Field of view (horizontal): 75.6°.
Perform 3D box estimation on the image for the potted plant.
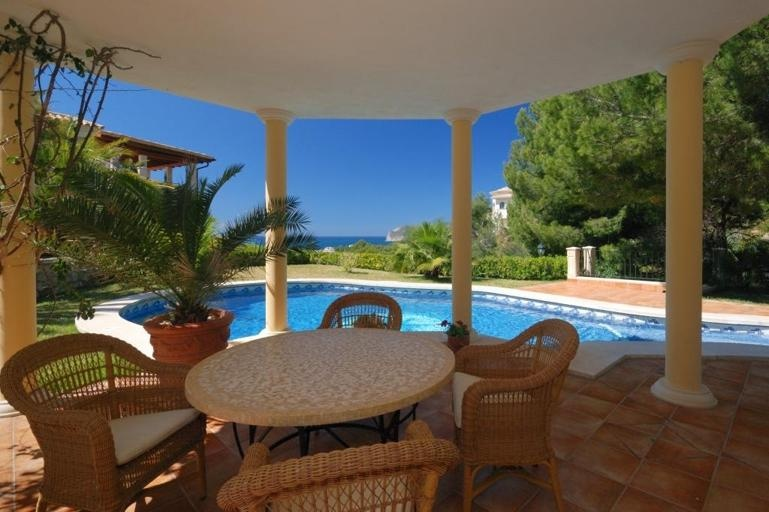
[{"bbox_3d":[-2.490,-0.143,6.146,2.490,1.971,2.608,0,1,11],"label":"potted plant"}]
